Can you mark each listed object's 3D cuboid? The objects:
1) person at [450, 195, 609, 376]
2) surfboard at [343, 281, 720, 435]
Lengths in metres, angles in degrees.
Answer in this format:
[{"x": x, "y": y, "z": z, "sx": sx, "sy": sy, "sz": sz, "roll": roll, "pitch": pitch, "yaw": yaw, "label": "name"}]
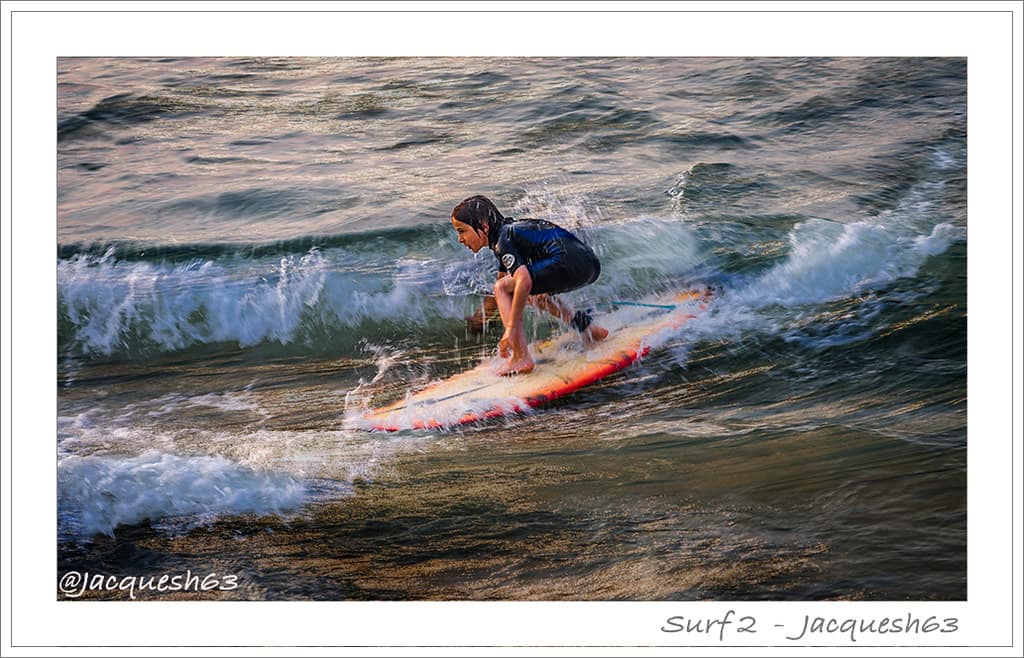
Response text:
[{"x": 0.158, "y": -0.363, "z": 9.735, "sx": 1.037, "sy": 1.434, "sz": 0.355, "roll": -9, "pitch": 0, "yaw": 1, "label": "person"}, {"x": 0.388, "y": 0.283, "z": 9.774, "sx": 3.629, "sy": 0.265, "sz": 0.812, "roll": -12, "pitch": 31, "yaw": -16, "label": "surfboard"}]
